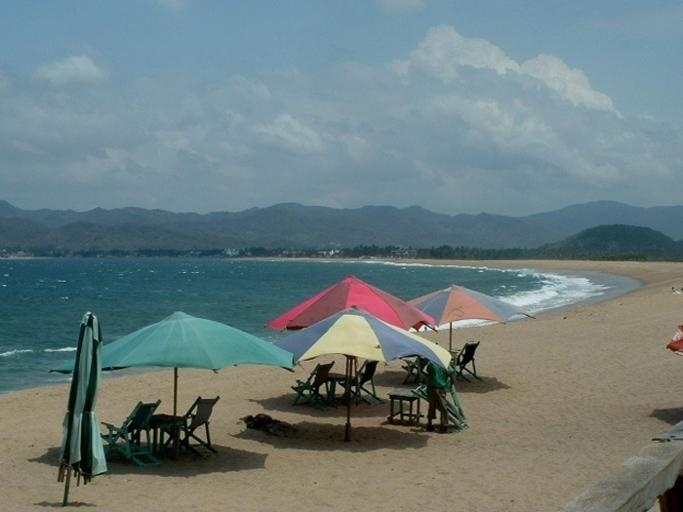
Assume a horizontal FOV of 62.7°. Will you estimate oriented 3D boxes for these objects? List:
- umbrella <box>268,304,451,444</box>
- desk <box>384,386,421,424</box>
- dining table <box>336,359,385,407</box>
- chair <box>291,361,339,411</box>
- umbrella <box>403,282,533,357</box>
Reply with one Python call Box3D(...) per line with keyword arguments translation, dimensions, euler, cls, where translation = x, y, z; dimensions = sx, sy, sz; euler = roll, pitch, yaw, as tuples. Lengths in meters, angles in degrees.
Box3D(translation=(0.245, 1.731, 10.960), dimensions=(3.450, 1.657, 3.035), euler=(-5, 10, -21), cls="umbrella")
Box3D(translation=(1.361, 3.221, 11.948), dimensions=(1.072, 0.827, 0.896), euler=(0, -7, 4), cls="desk")
Box3D(translation=(0.538, 3.102, 14.047), dimensions=(1.410, 1.113, 0.950), euler=(0, -1, 39), cls="dining table")
Box3D(translation=(-0.681, 3.047, 13.304), dimensions=(1.111, 0.857, 0.694), euler=(-12, -15, 26), cls="chair")
Box3D(translation=(3.115, 1.672, 14.766), dimensions=(2.778, 1.553, 2.798), euler=(2, 14, 44), cls="umbrella")
